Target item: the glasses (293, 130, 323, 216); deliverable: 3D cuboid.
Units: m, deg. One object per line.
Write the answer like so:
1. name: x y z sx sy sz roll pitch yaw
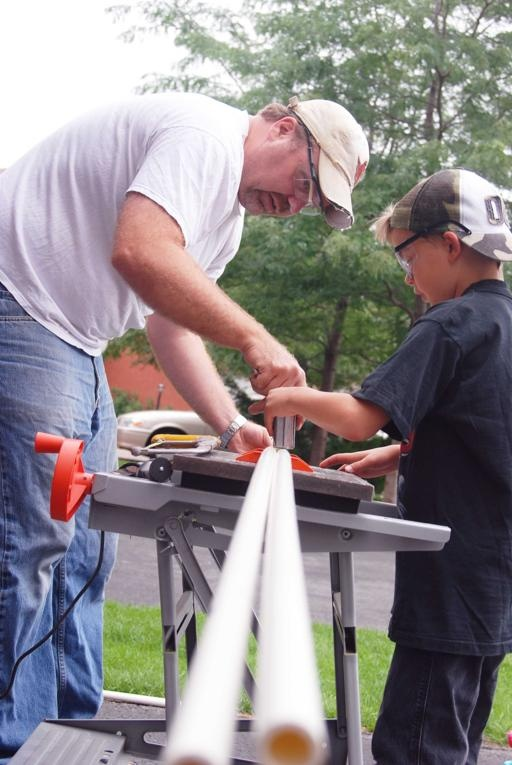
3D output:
1. glasses: 0.147 -0.566 2.536 0.047 0.144 0.153 1 -1 11

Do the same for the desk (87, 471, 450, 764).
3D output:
1. desk: -0.011 0.443 2.208 0.808 0.654 0.677 0 -4 0

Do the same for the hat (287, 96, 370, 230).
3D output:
1. hat: 0.205 -0.622 2.598 0.194 0.325 0.216 -25 -12 8

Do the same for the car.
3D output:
1. car: -1.329 0.589 12.912 1.936 0.580 0.820 -2 0 -11
